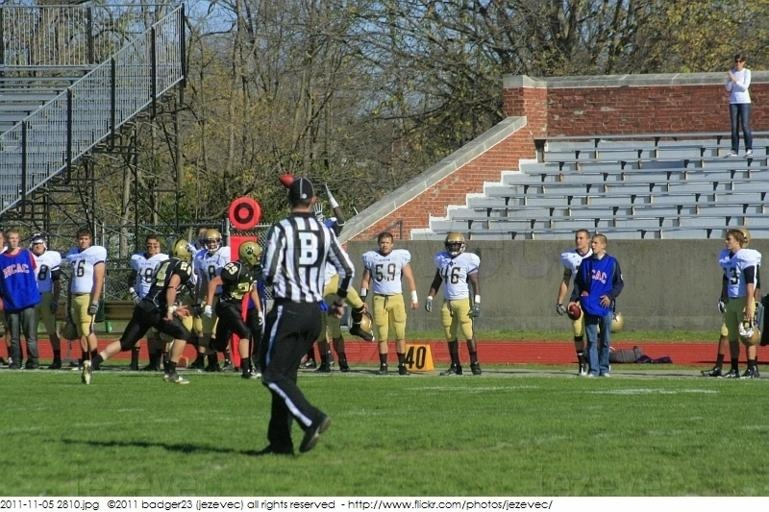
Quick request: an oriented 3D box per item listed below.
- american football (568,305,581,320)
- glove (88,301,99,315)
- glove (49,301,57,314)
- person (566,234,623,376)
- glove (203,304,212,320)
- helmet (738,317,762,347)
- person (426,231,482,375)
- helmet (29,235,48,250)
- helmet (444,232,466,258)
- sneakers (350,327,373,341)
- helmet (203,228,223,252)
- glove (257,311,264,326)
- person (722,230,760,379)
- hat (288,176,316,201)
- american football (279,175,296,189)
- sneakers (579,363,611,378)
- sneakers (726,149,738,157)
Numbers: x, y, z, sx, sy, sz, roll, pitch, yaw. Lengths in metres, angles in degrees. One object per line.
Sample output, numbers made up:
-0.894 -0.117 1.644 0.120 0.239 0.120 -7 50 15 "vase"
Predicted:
4.041 1.198 32.904 0.226 0.249 0.211 -19 41 9 "american football"
-6.369 1.147 33.490 0.194 0.226 0.109 7 -7 -4 "glove"
-7.430 1.157 34.435 0.198 0.234 0.099 9 8 21 "glove"
4.503 1.053 32.547 0.982 3.020 0.704 -2 -1 6 "person"
-3.799 1.178 32.852 0.275 0.242 0.183 0 5 -4 "glove"
7.705 1.637 32.525 0.518 0.652 0.281 -3 -2 29 "helmet"
1.520 1.040 33.527 1.076 3.090 1.275 -2 -1 2 "person"
-7.801 -0.312 34.520 0.287 0.300 0.346 3 -20 -11 "helmet"
1.491 -0.249 33.315 0.400 0.520 0.669 -2 -1 0 "helmet"
-0.531 1.690 32.976 0.496 0.242 0.259 31 1 -6 "sneakers"
-3.761 -0.340 33.474 0.379 0.441 0.439 0 -7 -1 "helmet"
-2.692 1.343 33.123 0.121 0.282 0.228 3 5 -6 "glove"
7.569 0.996 32.725 0.811 2.215 0.971 -2 -1 10 "person"
-1.514 -1.244 27.700 0.350 0.268 0.472 2 39 2 "hat"
-1.882 -1.413 29.367 0.420 0.277 0.395 -2 -5 -2 "american football"
4.445 2.453 32.759 0.735 0.281 0.240 -4 3 7 "sneakers"
9.694 -2.864 42.997 0.396 0.239 0.124 2 12 4 "sneakers"
